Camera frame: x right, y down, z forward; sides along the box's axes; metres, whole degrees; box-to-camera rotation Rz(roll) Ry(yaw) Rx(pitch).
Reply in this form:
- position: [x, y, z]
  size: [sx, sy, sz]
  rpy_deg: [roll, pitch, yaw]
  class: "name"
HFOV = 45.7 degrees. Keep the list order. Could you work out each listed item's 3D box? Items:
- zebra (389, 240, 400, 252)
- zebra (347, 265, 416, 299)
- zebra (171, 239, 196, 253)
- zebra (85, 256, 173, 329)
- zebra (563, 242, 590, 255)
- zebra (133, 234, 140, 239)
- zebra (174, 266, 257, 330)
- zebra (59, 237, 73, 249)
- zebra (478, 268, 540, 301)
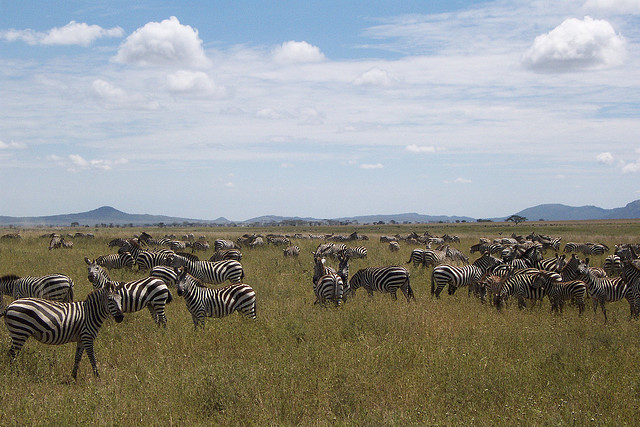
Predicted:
- position: [5.163, 2.256, 52.874]
  size: [0.766, 0.737, 0.604]
  rpy_deg: [-18, 3, -25]
  class: "zebra"
- position: [2.611, 2.931, 32.045]
  size: [2.711, 1.470, 0.768]
  rpy_deg: [5, 5, 34]
  class: "zebra"
- position: [-9.543, 2.222, 52.140]
  size: [1.159, 0.621, 0.384]
  rpy_deg: [-6, 38, -19]
  class: "zebra"
- position: [-7.146, 3.042, 28.575]
  size: [3.417, 2.559, 1.041]
  rpy_deg: [4, 10, -10]
  class: "zebra"
- position: [16.142, 2.151, 47.735]
  size: [1.075, 0.651, 2.206]
  rpy_deg: [3, 4, 3]
  class: "zebra"
- position: [-16.281, 1.949, 66.240]
  size: [0.313, 0.293, 0.321]
  rpy_deg: [-4, -2, 23]
  class: "zebra"
- position: [-4.078, 3.255, 28.519]
  size: [3.550, 2.353, 1.049]
  rpy_deg: [5, -2, -35]
  class: "zebra"
- position: [-17.463, 1.994, 51.505]
  size: [0.363, 0.713, 1.269]
  rpy_deg: [-9, 17, -41]
  class: "zebra"
- position: [7.762, 3.158, 31.814]
  size: [3.090, 1.621, 0.778]
  rpy_deg: [-8, 33, 4]
  class: "zebra"
